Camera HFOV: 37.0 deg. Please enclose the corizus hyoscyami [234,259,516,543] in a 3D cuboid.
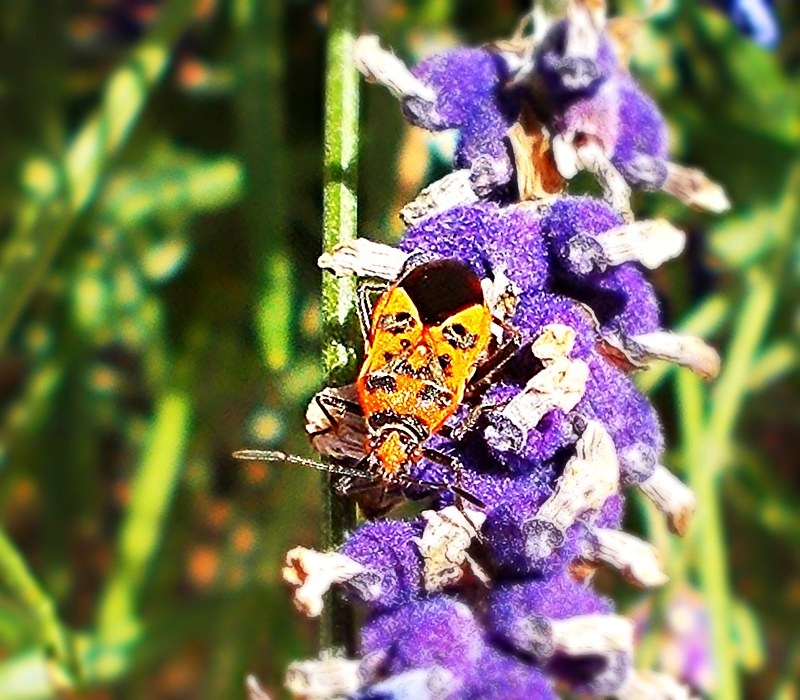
[{"bbox_3d":[0.015,0.033,1.275,0.219,0.070,0.273,25,-63,21],"label":"corizus hyoscyami"}]
